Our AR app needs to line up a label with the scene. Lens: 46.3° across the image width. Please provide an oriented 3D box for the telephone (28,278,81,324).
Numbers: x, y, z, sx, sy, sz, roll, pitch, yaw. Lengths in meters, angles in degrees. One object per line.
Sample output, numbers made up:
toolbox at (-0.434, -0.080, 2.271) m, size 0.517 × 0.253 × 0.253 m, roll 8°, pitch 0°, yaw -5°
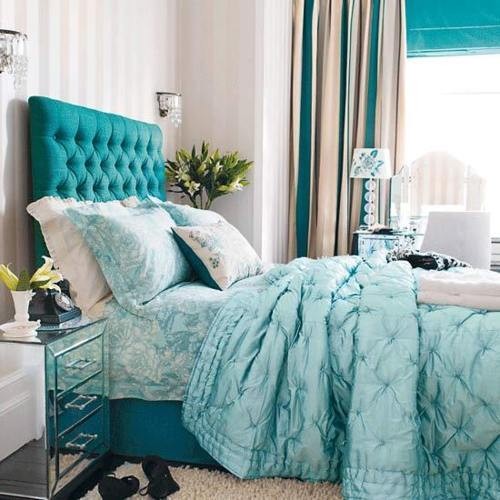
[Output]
telephone at (-0.743, 0.204, 2.227) m, size 0.127 × 0.126 × 0.194 m, roll -2°, pitch 0°, yaw 11°

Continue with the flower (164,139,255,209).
flower at (-0.337, -0.587, 4.523) m, size 0.556 × 0.550 × 0.575 m, roll 2°, pitch 7°, yaw 26°

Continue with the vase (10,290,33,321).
vase at (-0.828, 0.205, 2.144) m, size 0.087 × 0.135 × 0.083 m, roll -3°, pitch -2°, yaw 33°

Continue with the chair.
chair at (1.419, -0.067, 4.175) m, size 0.363 × 0.597 × 0.436 m, roll 9°, pitch -6°, yaw 13°
